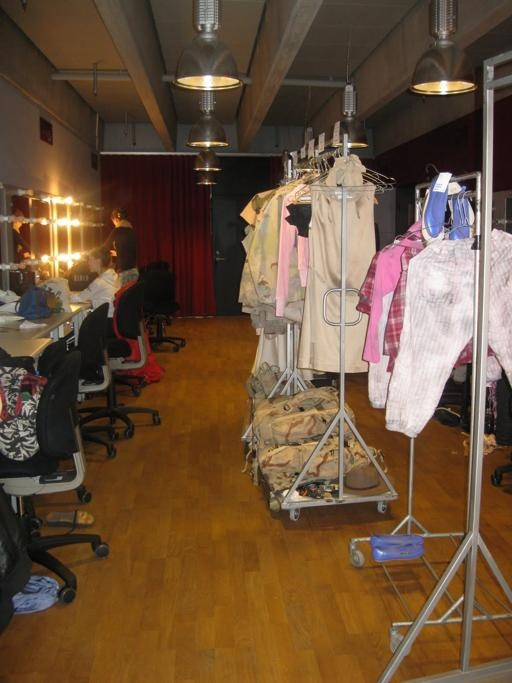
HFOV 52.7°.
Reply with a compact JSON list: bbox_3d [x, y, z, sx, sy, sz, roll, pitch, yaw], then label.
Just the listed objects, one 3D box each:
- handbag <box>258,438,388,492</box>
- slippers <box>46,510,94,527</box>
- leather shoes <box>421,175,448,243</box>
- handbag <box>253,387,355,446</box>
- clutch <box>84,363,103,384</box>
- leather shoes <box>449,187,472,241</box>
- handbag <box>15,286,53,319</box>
[{"bbox_3d":[0.271,0.572,2.457,0.366,0.114,0.285,-2,9,-13],"label":"handbag"},{"bbox_3d":[-0.863,0.821,2.385,0.153,0.039,0.089,3,7,-11],"label":"slippers"},{"bbox_3d":[0.522,-0.387,1.536,0.065,0.197,0.059,8,35,16],"label":"leather shoes"},{"bbox_3d":[0.227,0.374,2.645,0.347,0.126,0.344,-30,10,-41],"label":"handbag"},{"bbox_3d":[-1.028,0.197,3.262,0.134,0.130,0.077,1,2,-15],"label":"clutch"},{"bbox_3d":[0.618,-0.378,1.609,0.071,0.217,0.084,2,14,19],"label":"leather shoes"},{"bbox_3d":[-1.594,-0.290,3.698,0.187,0.204,0.255,0,22,-18],"label":"handbag"}]
